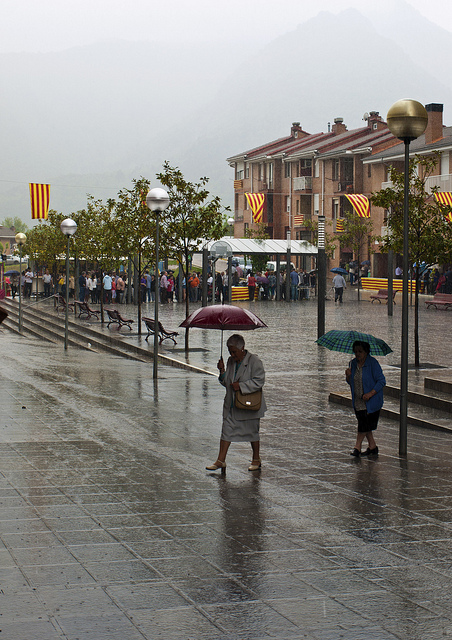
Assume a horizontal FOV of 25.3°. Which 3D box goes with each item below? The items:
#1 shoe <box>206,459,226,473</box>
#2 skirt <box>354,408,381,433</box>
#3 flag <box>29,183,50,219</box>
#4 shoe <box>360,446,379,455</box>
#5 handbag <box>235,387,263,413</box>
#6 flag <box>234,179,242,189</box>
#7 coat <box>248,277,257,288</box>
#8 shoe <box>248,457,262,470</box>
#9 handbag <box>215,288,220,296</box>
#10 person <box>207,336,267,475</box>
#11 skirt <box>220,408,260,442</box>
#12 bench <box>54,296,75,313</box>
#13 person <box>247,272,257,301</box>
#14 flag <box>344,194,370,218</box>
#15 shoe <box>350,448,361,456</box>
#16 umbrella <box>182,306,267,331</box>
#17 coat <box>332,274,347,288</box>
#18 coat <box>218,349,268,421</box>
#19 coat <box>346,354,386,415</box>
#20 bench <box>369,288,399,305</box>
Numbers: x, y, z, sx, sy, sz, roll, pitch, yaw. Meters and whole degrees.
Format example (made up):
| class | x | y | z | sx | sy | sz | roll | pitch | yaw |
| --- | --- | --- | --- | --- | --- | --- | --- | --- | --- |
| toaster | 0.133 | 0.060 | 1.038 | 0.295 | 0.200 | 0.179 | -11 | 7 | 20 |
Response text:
| class | x | y | z | sx | sy | sz | roll | pitch | yaw |
| --- | --- | --- | --- | --- | --- | --- | --- | --- | --- |
| shoe | -0.089 | 1.295 | 9.011 | 0.173 | 0.114 | 0.226 | 0 | 5 | 0 |
| skirt | 1.392 | 0.993 | 9.975 | 0.190 | 0.214 | 0.231 | 0 | -5 | -4 |
| flag | -7.734 | -4.937 | 41.954 | 0.734 | 1.434 | 1.553 | -1 | 5 | -12 |
| shoe | 1.414 | 1.299 | 9.994 | 0.183 | 0.084 | 0.066 | -1 | -1 | -6 |
| handbag | 0.197 | 0.693 | 8.860 | 0.235 | 0.359 | 0.183 | 3 | 0 | -7 |
| flag | 0.936 | -10.605 | 78.448 | 0.920 | 0.725 | 0.442 | 4 | 6 | 37 |
| coat | 1.084 | -1.561 | 41.960 | 0.341 | 0.431 | 0.277 | 0 | -9 | -2 |
| shoe | 0.260 | 1.298 | 9.193 | 0.117 | 0.097 | 0.295 | 0 | 5 | 1 |
| handbag | -0.350 | -1.139 | 40.514 | 0.200 | 0.323 | 0.108 | -1 | -2 | 1 |
| person | 0.094 | 0.744 | 8.987 | 0.509 | 1.252 | 0.527 | 0 | 5 | 1 |
| skirt | 0.105 | 0.978 | 8.968 | 0.410 | 0.446 | 0.249 | 2 | -6 | -8 |
| bench | -5.357 | -0.505 | 33.306 | 0.355 | 0.372 | 0.676 | -7 | 7 | -14 |
| person | 1.111 | -1.346 | 42.214 | 0.366 | 1.004 | 0.989 | 0 | 5 | 1 |
| flag | 6.125 | -5.276 | 46.327 | 0.920 | 1.031 | 2.290 | 1 | 5 | 8 |
| shoe | 1.270 | 1.297 | 9.866 | 0.059 | 0.072 | 0.172 | 1 | -6 | 18 |
| umbrella | 0.002 | -0.011 | 11.013 | 0.628 | 0.303 | 1.093 | -1 | 5 | -13 |
| coat | 4.379 | -1.488 | 39.182 | 0.339 | 0.463 | 0.589 | 0 | 5 | -4 |
| coat | 0.142 | 0.567 | 8.899 | 0.391 | 0.618 | 0.345 | 1 | 5 | 9 |
| coat | 1.381 | 0.626 | 9.933 | 0.355 | 0.573 | 0.245 | 1 | 5 | 15 |
| bench | 5.957 | -0.775 | 38.905 | 0.529 | 0.589 | 0.862 | -2 | 2 | -39 |
